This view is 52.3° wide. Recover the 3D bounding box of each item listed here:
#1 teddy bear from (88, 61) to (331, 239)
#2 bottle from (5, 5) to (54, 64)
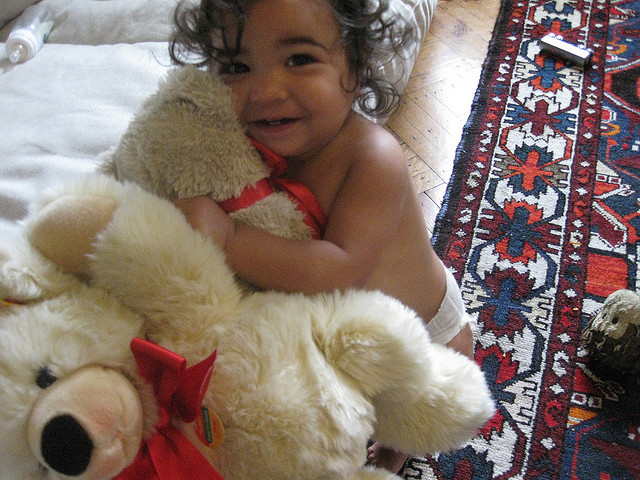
[{"bbox_3d":[-0.203,-0.166,1.146,0.396,0.201,0.278,6,15,19],"label":"teddy bear"},{"bbox_3d":[-0.719,-0.520,1.614,0.071,0.059,0.205,8,54,-3],"label":"bottle"}]
